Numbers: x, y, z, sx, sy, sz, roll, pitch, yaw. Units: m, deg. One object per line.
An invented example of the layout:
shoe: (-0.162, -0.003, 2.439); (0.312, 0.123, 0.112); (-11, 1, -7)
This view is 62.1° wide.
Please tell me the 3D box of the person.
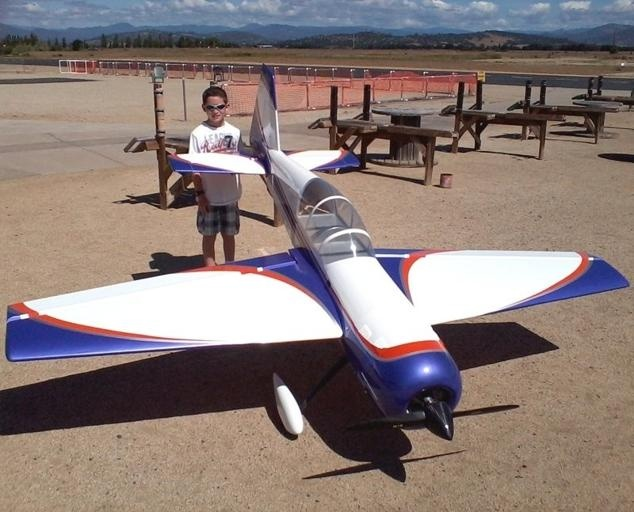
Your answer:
person: (-1.205, -0.892, 6.435); (0.618, 2.262, 0.894); (-5, 22, -11)

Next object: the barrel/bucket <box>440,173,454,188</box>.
barrel/bucket: (2.934, -1.726, 12.050); (0.397, 0.313, 0.344); (1, 33, 11)
